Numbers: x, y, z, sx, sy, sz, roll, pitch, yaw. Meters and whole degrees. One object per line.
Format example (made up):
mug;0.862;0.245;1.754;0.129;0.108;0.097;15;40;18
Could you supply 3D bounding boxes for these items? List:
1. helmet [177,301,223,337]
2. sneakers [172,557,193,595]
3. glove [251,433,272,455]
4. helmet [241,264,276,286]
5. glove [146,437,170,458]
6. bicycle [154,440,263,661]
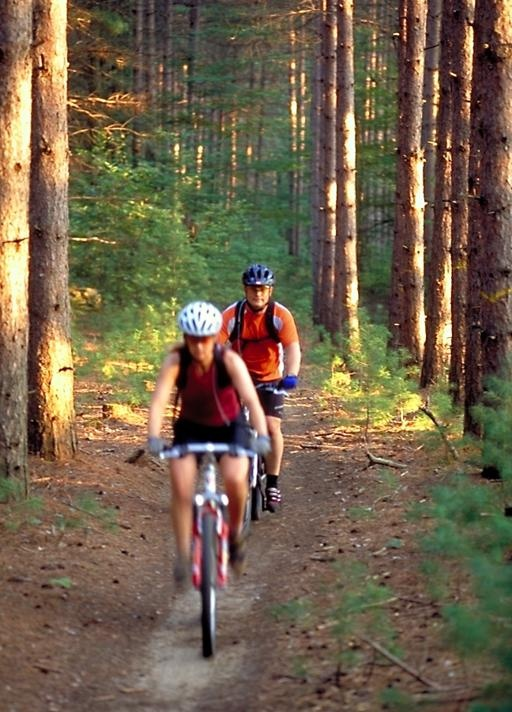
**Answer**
helmet;-0.410;-0.257;7.680;0.296;0.259;0.258;-8;10;-4
sneakers;-0.535;1.588;7.763;0.124;0.294;0.217;-8;10;-4
glove;0.032;0.676;7.861;0.132;0.180;0.175;0;34;2
helmet;0.015;-0.751;10.117;0.278;0.227;0.418;-6;10;3
glove;-0.700;0.650;7.609;0.116;0.150;0.143;-1;-10;-14
bicycle;-0.424;1.384;8.000;0.735;1.645;0.679;3;15;43
